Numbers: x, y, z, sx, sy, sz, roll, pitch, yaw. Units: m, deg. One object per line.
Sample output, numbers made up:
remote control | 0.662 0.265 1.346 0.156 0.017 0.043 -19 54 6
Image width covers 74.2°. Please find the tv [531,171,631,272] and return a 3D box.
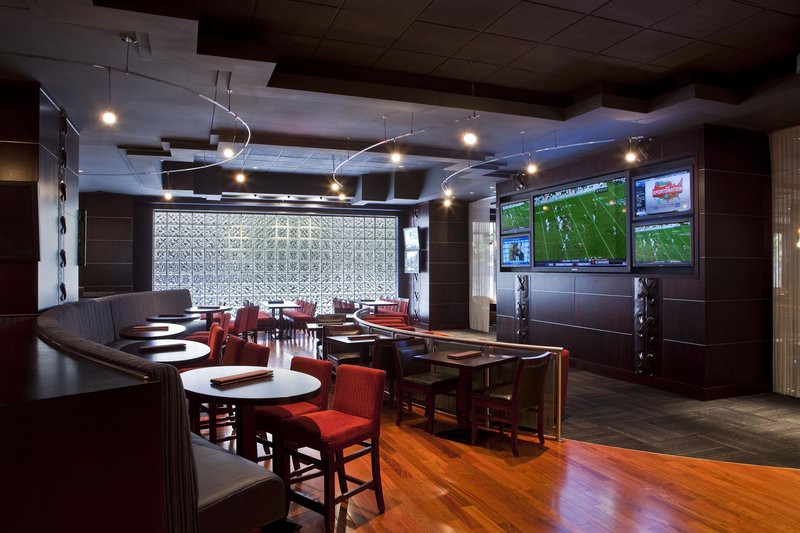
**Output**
tv | 3.638 -0.895 10.495 0.099 1.548 2.176 2 -4 -32

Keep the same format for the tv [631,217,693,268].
tv | 4.477 -0.395 9.064 0.196 0.903 1.171 -1 10 -19

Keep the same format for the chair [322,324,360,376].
chair | -0.973 1.240 8.375 0.585 0.824 0.643 4 -7 -30

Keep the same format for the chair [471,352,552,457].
chair | 1.399 1.664 6.696 0.895 1.208 0.858 5 10 19

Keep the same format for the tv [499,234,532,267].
tv | 2.661 -0.355 12.323 0.087 0.881 1.186 -3 10 -25

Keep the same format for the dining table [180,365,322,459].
dining table | -1.371 1.163 5.073 1.065 0.757 1.083 6 6 39

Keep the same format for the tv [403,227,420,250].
tv | 0.362 -0.823 15.699 0.229 0.722 0.985 -1 10 -16

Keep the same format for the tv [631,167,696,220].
tv | 4.503 -1.238 9.003 0.115 0.708 1.036 2 -3 -29
